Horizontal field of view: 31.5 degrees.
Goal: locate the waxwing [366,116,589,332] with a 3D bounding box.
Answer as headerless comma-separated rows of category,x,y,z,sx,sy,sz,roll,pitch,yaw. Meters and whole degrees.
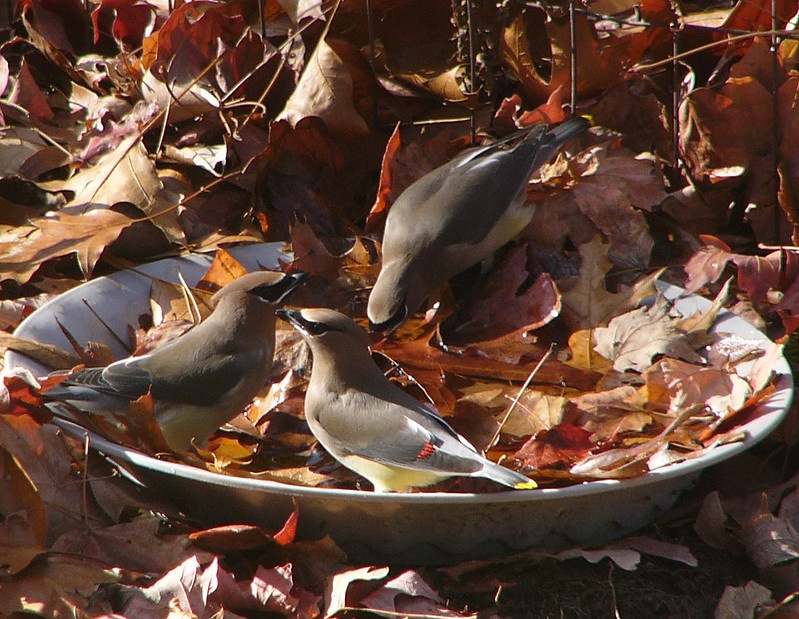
waxwing,0.172,-0.264,4.122,0.852,0.341,0.281,-43,80,20
